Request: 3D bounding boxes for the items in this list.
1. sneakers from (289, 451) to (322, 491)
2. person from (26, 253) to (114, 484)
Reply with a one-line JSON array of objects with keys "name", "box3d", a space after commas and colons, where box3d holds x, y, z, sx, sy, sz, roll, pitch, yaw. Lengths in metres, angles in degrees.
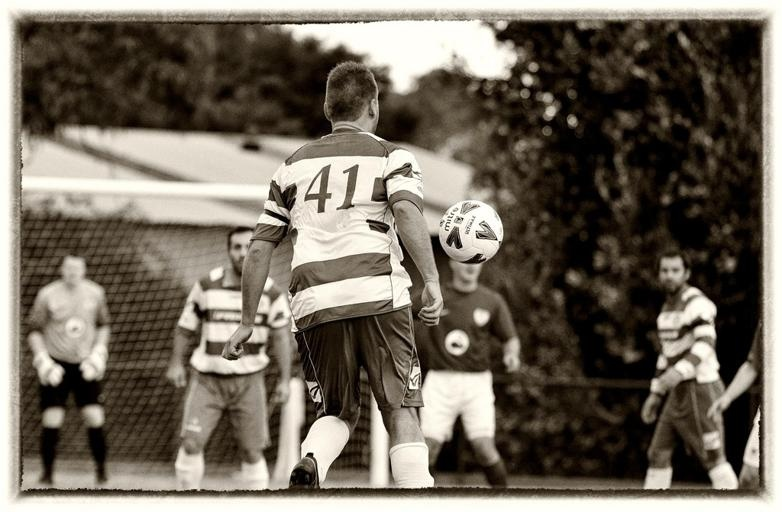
[{"name": "sneakers", "box3d": [-0.925, 2.337, 13.845, 0.186, 0.539, 0.226, 4, 22, 2]}, {"name": "person", "box3d": [-4.357, 1.522, 17.250, 1.140, 3.101, 0.496, 4, -5, -17]}]
